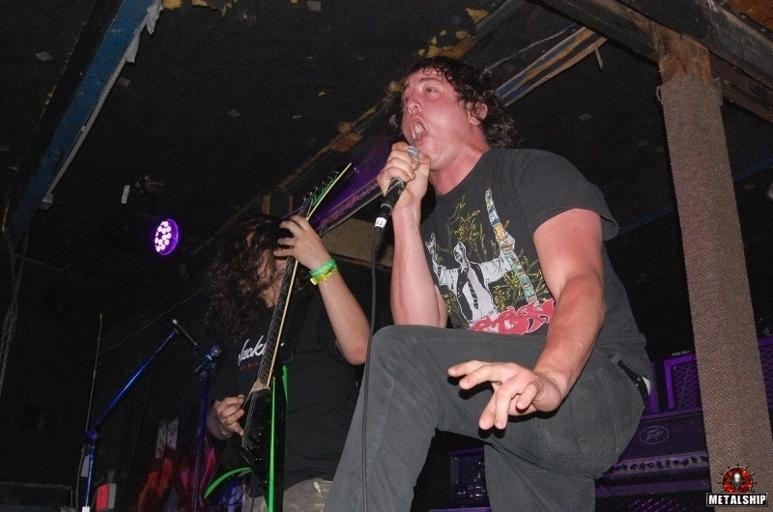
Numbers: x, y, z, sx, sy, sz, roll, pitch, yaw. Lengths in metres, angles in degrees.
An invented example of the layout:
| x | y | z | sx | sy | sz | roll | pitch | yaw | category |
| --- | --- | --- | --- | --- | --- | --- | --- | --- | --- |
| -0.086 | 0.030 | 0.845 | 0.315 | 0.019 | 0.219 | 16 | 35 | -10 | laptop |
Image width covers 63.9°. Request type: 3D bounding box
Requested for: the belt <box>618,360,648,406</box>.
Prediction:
| x | y | z | sx | sy | sz | roll | pitch | yaw | category |
| --- | --- | --- | --- | --- | --- | --- | --- | --- | --- |
| 1.118 | 0.564 | 2.822 | 0.097 | 0.182 | 0.133 | -32 | 14 | -15 | belt |
